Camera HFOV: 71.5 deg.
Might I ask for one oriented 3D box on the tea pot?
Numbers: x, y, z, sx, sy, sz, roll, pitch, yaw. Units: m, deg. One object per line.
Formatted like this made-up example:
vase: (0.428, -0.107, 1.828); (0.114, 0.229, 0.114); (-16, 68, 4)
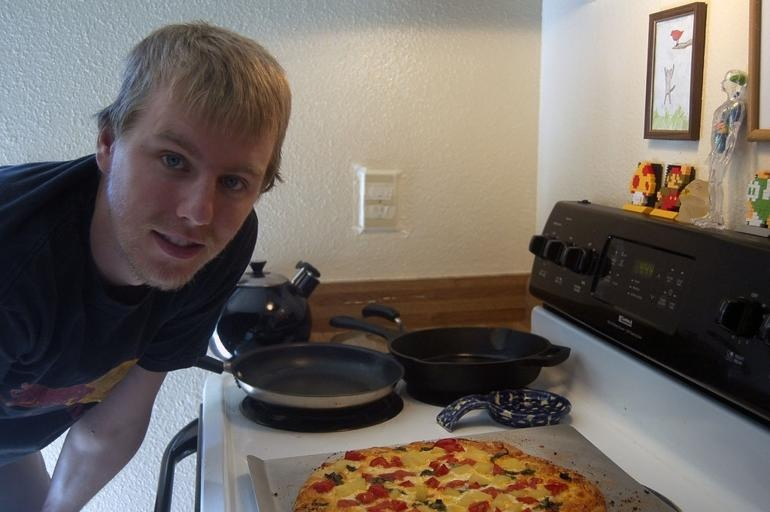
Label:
tea pot: (-0.335, 0.140, 1.570); (0.323, 0.196, 0.227); (-17, 14, -19)

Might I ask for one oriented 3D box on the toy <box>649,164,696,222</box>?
toy: (0.689, -0.157, 1.282); (0.079, 0.125, 0.086); (-10, 15, -41)

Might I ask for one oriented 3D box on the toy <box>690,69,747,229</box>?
toy: (0.751, -0.232, 1.173); (0.073, 0.338, 0.117); (8, 13, 33)
